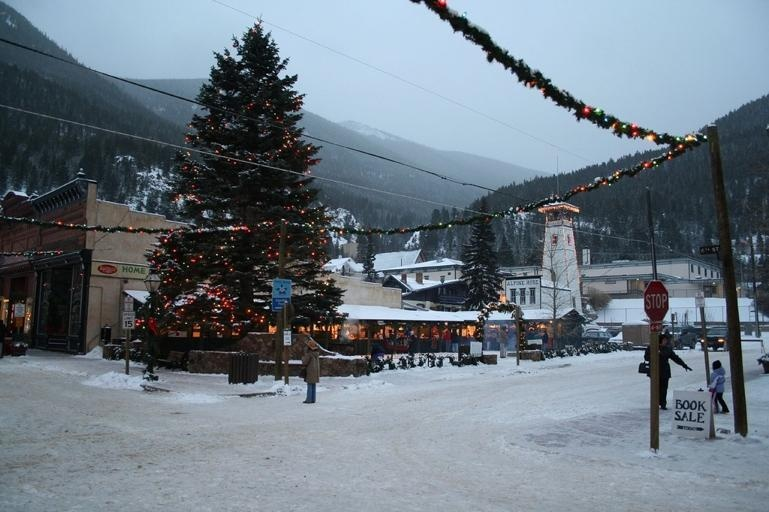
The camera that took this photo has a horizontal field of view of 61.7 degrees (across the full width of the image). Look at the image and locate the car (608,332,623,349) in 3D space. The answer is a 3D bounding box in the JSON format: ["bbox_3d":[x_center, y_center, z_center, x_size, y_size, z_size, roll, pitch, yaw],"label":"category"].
[{"bbox_3d":[24.471,8.959,68.250,1.084,1.608,3.841,4,-2,-2],"label":"car"}]

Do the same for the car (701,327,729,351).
[{"bbox_3d":[29.035,7.157,56.328,1.394,2.282,6.858,-6,-11,27],"label":"car"}]

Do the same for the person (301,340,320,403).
[{"bbox_3d":[-2.947,4.637,25.895,0.602,2.526,0.940,0,-8,-9],"label":"person"}]

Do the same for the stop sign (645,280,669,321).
[{"bbox_3d":[7.889,1.290,18.741,0.614,1.244,0.591,-7,-10,31],"label":"stop sign"}]
